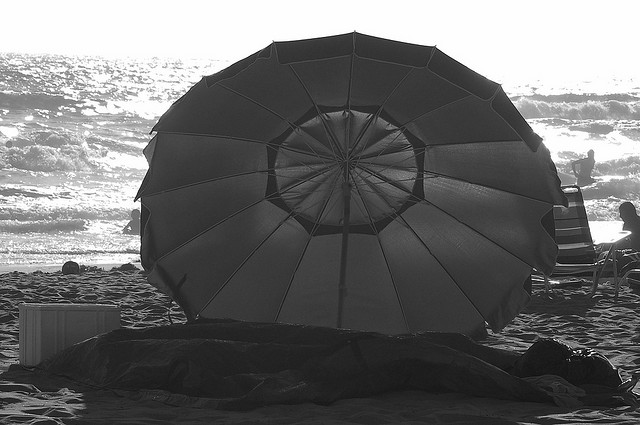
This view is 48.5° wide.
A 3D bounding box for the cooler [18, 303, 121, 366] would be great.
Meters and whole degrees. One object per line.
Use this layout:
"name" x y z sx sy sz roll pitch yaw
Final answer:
"cooler" -2.696 1.218 7.793 0.888 0.736 0.743 1 0 -5
